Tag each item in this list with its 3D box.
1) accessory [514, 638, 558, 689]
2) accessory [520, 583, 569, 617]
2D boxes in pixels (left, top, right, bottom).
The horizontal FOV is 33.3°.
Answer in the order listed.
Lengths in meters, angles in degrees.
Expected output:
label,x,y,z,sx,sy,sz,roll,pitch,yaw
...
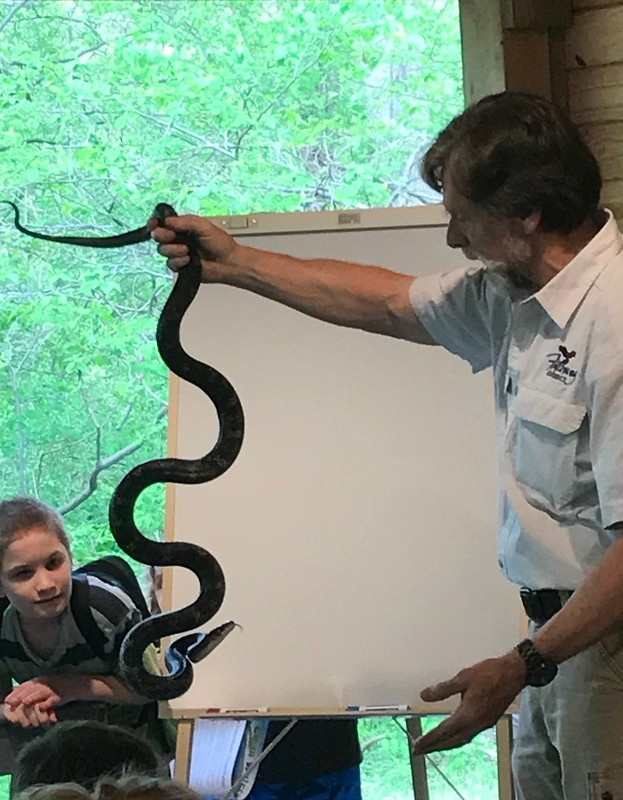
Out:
label,x,y,z,sx,sy,sz,roll,pitch,yaw
accessory,0.382,0.448,1.769,0.090,0.076,0.070,-9,-12,17
accessory,0.434,0.386,1.984,0.090,0.042,0.059,1,-4,-16
